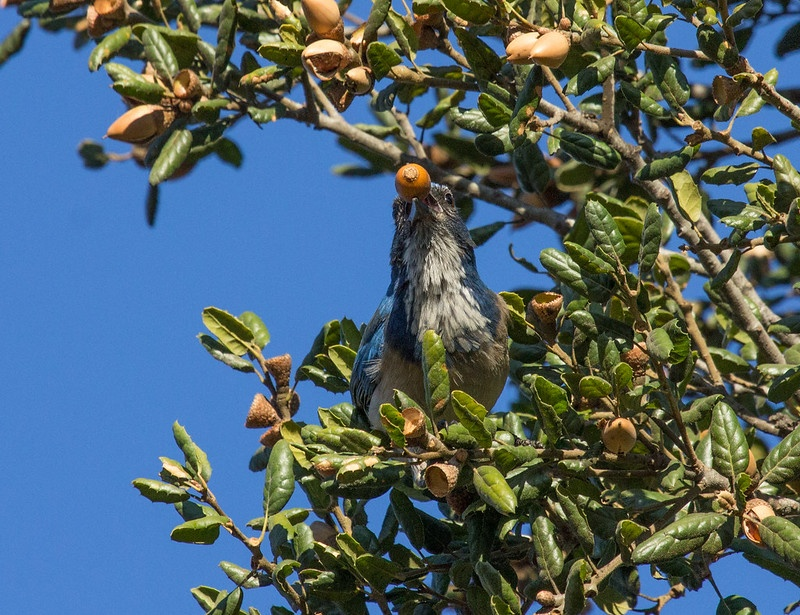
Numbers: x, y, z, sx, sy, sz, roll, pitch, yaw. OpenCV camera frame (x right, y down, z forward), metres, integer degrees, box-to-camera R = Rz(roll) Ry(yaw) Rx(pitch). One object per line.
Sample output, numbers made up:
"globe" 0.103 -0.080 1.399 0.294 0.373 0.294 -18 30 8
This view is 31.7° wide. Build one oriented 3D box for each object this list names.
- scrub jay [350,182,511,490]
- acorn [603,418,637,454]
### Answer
"scrub jay" 0.138 -0.178 9.615 1.064 1.940 0.623 -15 -38 7
"acorn" 1.207 0.711 7.767 0.158 0.180 0.234 0 -79 7
